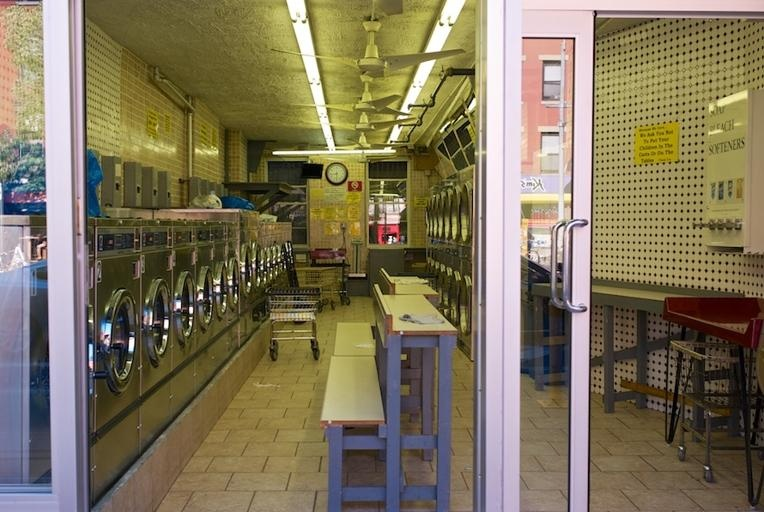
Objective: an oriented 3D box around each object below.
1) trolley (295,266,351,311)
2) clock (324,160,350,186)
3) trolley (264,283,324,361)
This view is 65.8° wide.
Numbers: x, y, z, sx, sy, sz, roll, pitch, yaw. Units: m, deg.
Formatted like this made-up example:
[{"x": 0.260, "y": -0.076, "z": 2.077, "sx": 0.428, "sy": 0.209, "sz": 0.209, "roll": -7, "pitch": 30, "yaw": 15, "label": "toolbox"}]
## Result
[{"x": -1.349, "y": 0.648, "z": 13.942, "sx": 0.870, "sy": 0.962, "sz": 1.362, "roll": -2, "pitch": 3, "yaw": 0, "label": "trolley"}, {"x": -1.184, "y": -2.208, "z": 15.626, "sx": 0.597, "sy": 0.591, "sz": 0.594, "roll": 4, "pitch": 6, "yaw": 0, "label": "clock"}, {"x": -1.291, "y": 0.961, "z": 8.522, "sx": 0.831, "sy": 0.974, "sz": 1.095, "roll": 6, "pitch": -6, "yaw": -18, "label": "trolley"}]
